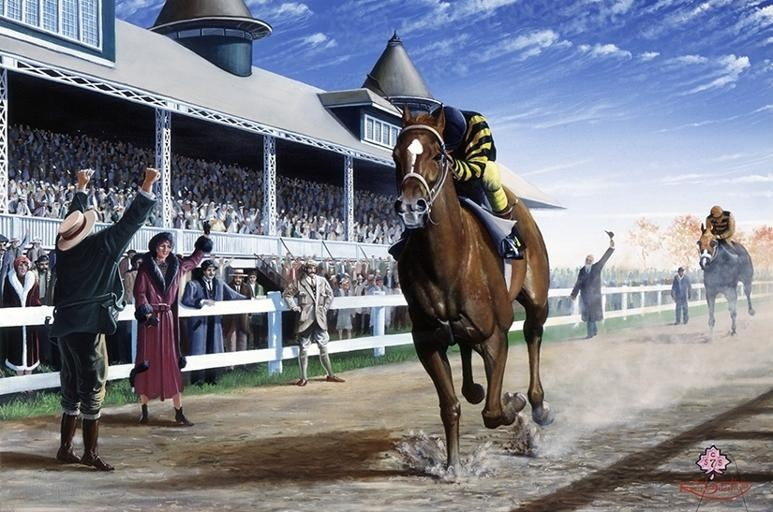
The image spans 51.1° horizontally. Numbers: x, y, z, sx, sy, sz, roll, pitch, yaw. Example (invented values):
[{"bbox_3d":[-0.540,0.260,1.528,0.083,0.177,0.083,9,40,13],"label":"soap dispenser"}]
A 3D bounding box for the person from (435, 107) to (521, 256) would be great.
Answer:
[{"bbox_3d":[0.994,-0.818,9.808,0.563,1.654,0.912,-21,-3,28],"label":"person"}]

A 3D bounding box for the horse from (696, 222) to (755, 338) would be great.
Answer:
[{"bbox_3d":[8.161,0.538,19.562,0.947,2.591,3.574,-1,3,35],"label":"horse"}]
